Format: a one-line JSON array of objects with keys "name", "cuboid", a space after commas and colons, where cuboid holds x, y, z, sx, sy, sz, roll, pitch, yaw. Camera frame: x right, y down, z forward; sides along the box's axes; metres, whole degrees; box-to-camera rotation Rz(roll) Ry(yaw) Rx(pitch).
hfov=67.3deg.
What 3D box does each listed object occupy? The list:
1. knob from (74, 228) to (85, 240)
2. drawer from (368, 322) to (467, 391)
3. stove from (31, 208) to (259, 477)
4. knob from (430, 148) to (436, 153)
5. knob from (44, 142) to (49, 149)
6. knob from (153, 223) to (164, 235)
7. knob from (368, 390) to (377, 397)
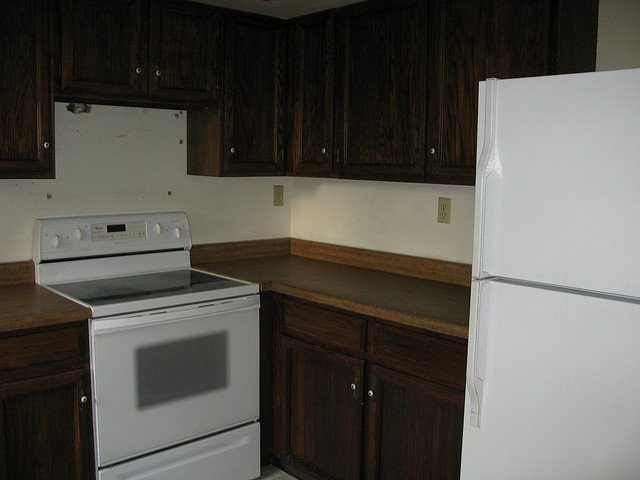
[{"name": "knob", "cuboid": [-1.266, -0.035, 2.520, 0.041, 0.090, 0.058, 8, 7, 33]}, {"name": "drawer", "cuboid": [0.472, 0.447, 2.228, 0.421, 0.251, 0.307, 6, 22, 20]}, {"name": "stove", "cuboid": [-0.868, 0.585, 2.553, 0.984, 1.398, 0.675, -5, 10, -33]}, {"name": "knob", "cuboid": [0.554, -0.440, 2.349, 0.022, 0.027, 0.008, -2, -7, 38]}, {"name": "knob", "cuboid": [-1.312, -0.455, 2.295, 0.020, 0.028, 0.022, 1, 0, 20]}, {"name": "knob", "cuboid": [-0.931, -0.067, 2.754, 0.044, 0.061, 0.038, -17, 19, -42]}, {"name": "knob", "cuboid": [0.246, 0.729, 2.274, 0.010, 0.025, 0.031, 1, -2, -35]}]
